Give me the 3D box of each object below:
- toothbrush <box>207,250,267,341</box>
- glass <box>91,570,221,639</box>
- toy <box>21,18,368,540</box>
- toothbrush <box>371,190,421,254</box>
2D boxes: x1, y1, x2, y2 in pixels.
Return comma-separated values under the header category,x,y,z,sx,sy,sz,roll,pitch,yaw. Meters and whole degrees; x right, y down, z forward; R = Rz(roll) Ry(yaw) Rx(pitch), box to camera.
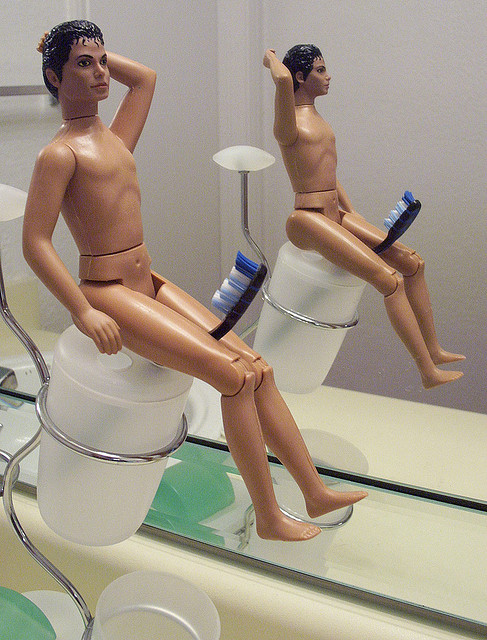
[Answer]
category,x,y,z,sx,sy,sz,roll,pitch,yaw
toothbrush,-0.012,-0.023,0.681,0.036,0.103,0.019,19,36,-17
glass,-0.090,0.325,0.737,0.125,0.083,0.068,7,17,-3
toy,-0.046,-0.025,0.708,0.402,0.492,0.194,12,17,14
toothbrush,0.174,-0.106,0.773,0.019,0.076,0.052,-8,23,-41
